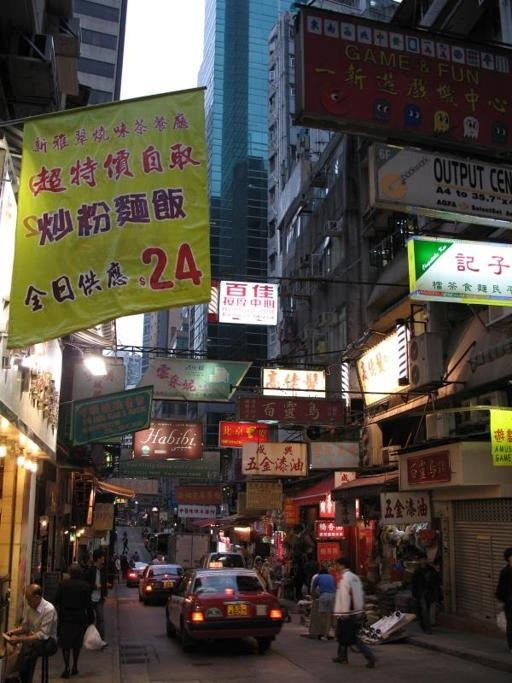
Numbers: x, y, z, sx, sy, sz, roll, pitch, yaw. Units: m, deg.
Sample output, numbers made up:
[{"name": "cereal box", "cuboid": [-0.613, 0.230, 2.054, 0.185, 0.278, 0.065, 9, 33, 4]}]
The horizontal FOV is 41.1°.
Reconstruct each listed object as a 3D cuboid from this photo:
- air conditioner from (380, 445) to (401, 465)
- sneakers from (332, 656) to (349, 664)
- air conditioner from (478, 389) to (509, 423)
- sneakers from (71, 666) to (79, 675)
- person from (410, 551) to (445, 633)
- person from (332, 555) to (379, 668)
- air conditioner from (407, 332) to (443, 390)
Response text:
[{"name": "air conditioner", "cuboid": [3.721, 3.093, 18.878, 0.407, 0.571, 0.796, -1, -17, -2]}, {"name": "sneakers", "cuboid": [1.246, 4.713, 10.207, 0.234, 0.115, 0.088, 0, -7, 28]}, {"name": "air conditioner", "cuboid": [4.857, 1.417, 14.219, 0.470, 0.847, 0.930, 2, -3, -7]}, {"name": "sneakers", "cuboid": [-2.434, 4.358, 9.166, 0.070, 0.133, 0.185, 3, -3, -1]}, {"name": "person", "cuboid": [3.446, 5.051, 13.828, 0.555, 1.370, 1.847, -5, -17, 12]}, {"name": "person", "cuboid": [1.390, 3.959, 10.151, 0.558, 1.464, 0.709, 4, -13, -10]}, {"name": "air conditioner", "cuboid": [3.779, 0.410, 15.270, 0.401, 1.213, 1.064, 1, -17, -9]}]
